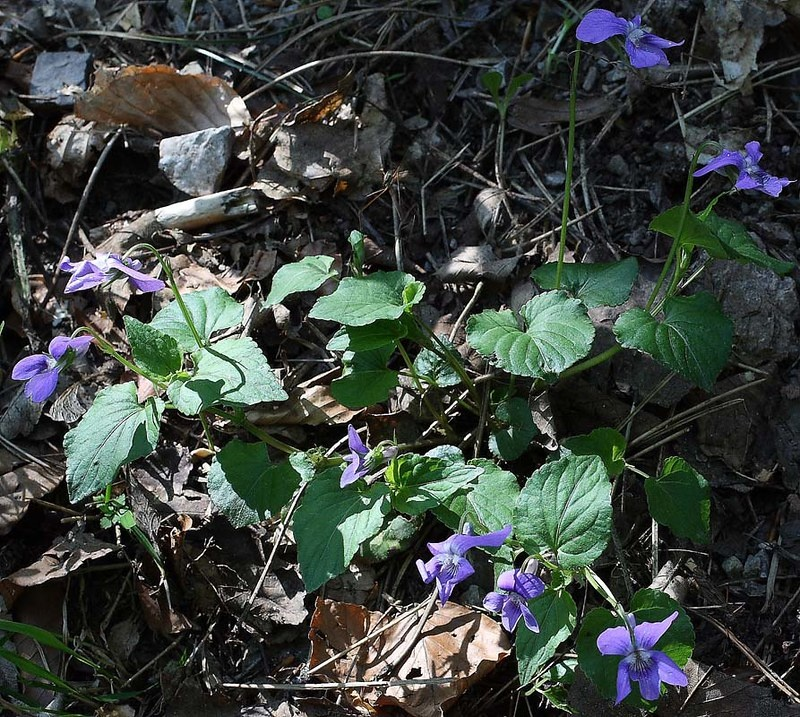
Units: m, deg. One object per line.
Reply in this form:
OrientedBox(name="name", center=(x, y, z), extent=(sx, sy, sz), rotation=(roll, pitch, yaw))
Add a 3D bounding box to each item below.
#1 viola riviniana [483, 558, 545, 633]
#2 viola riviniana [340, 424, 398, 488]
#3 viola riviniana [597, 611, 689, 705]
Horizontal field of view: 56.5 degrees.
OrientedBox(name="viola riviniana", center=(0.374, 0.779, 2.435), extent=(0.222, 0.099, 0.210), rotation=(-11, 69, 19))
OrientedBox(name="viola riviniana", center=(-0.145, 0.353, 2.756), extent=(0.077, 0.217, 0.234), rotation=(-8, 19, 31))
OrientedBox(name="viola riviniana", center=(0.753, 0.939, 2.354), extent=(0.254, 0.252, 0.241), rotation=(-3, 56, -3))
